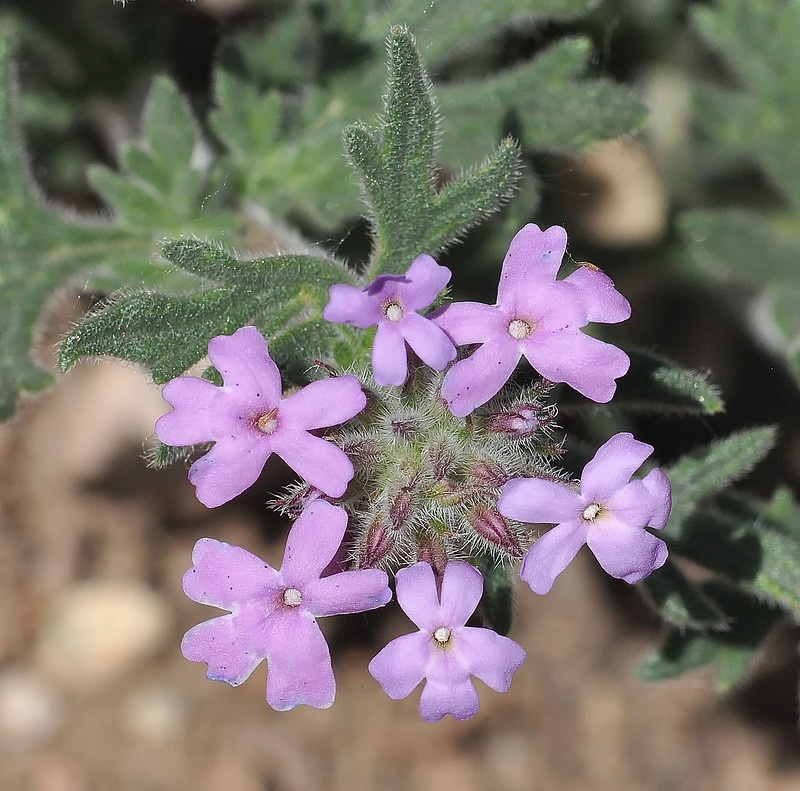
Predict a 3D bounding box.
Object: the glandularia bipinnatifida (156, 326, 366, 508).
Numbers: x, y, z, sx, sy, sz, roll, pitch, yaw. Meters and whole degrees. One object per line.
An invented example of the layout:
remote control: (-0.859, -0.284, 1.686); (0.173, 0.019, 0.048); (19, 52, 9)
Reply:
glandularia bipinnatifida: (-0.415, 0.067, 3.209); (0.793, 0.609, 0.165); (17, 31, 13)

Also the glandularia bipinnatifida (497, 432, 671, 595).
glandularia bipinnatifida: (0.591, 0.360, 3.220); (0.645, 0.185, 0.475); (-9, 91, -5)

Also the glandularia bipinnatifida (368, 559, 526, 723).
glandularia bipinnatifida: (0.114, 0.771, 3.178); (0.448, 0.206, 0.504); (-23, 74, -4)

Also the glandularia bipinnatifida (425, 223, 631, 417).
glandularia bipinnatifida: (0.420, -0.241, 3.259); (0.629, 0.206, 0.593); (-6, 73, 1)
